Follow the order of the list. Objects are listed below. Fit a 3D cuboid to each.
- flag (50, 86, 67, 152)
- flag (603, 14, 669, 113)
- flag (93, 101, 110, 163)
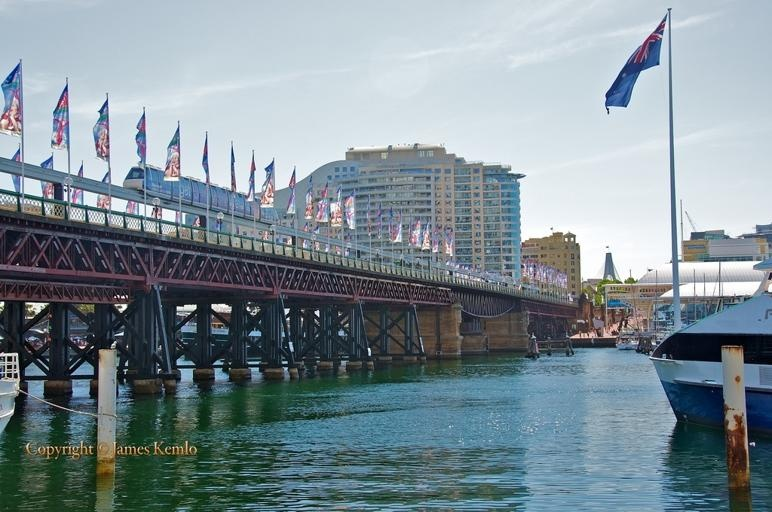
[{"bbox_3d":[-24.046,-10.319,82.935,1.031,5.262,1.854,2,-9,-19],"label":"flag"},{"bbox_3d":[15.561,-12.106,69.546,3.650,5.403,2.824,-3,-9,11],"label":"flag"},{"bbox_3d":[-21.943,-9.692,86.756,0.936,4.898,2.005,2,-9,-18],"label":"flag"}]
